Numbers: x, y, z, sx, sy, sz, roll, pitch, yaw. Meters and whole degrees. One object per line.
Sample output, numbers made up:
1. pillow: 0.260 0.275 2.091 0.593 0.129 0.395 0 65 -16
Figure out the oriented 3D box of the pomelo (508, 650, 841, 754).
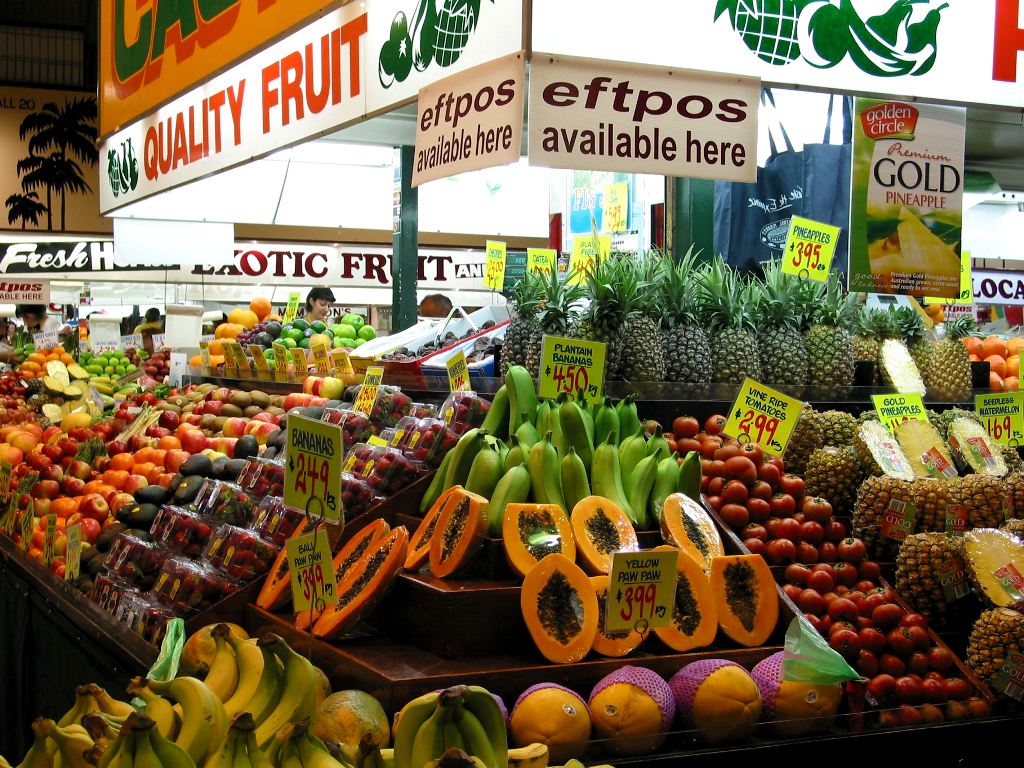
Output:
1. pomelo: 0.419 0.771 2.049 0.871 0.166 0.150 -4 9 -19
